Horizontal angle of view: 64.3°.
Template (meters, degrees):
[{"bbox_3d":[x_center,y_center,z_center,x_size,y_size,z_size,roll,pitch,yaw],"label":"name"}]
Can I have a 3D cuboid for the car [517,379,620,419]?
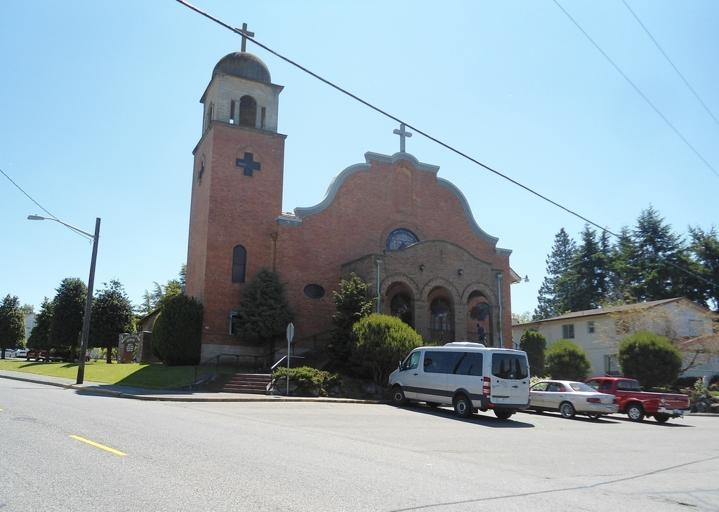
[{"bbox_3d":[8.851,5.966,23.911,1.229,1.391,3.299,7,-10,-32],"label":"car"}]

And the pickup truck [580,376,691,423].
[{"bbox_3d":[12.030,6.123,25.042,1.797,1.406,3.967,8,-7,-27],"label":"pickup truck"}]

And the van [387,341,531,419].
[{"bbox_3d":[3.772,4.819,22.754,2.482,2.723,6.168,10,-11,-31],"label":"van"}]
